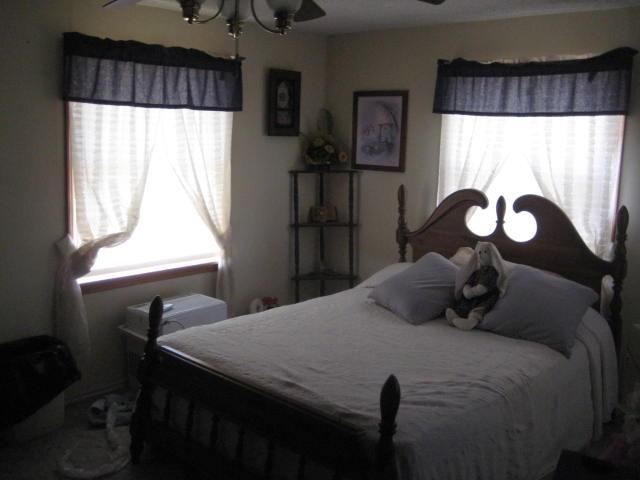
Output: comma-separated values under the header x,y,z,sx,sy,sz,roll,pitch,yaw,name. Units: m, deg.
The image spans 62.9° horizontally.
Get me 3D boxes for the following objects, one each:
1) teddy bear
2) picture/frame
x,y,z,sx,sy,sz,roll,pitch,yaw,name
1.068,0.314,3.611,0.377,0.642,0.321,12,-9,-13,teddy bear
0.584,-1.048,4.971,0.679,0.857,0.036,8,10,37,picture/frame
